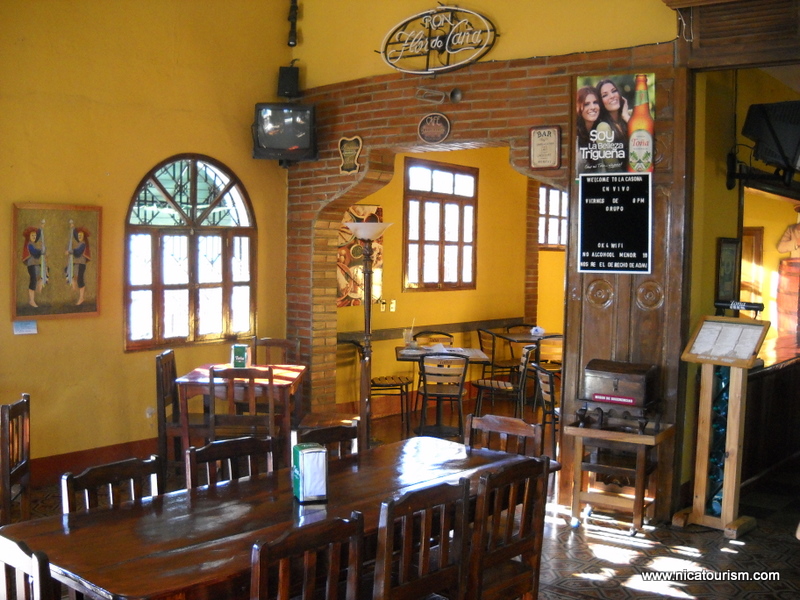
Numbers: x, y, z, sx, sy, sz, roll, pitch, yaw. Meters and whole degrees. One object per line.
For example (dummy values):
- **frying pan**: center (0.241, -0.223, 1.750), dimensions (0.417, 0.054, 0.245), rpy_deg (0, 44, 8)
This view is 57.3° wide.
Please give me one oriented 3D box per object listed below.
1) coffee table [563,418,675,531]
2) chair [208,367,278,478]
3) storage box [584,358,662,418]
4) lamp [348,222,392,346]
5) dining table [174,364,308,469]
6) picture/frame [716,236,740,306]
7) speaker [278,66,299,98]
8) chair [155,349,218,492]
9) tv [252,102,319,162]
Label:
- **coffee table**: center (1.785, 1.315, 6.119), dimensions (0.951, 1.073, 0.811), rpy_deg (0, -1, 34)
- **chair**: center (-1.415, 1.145, 6.328), dimensions (0.667, 0.997, 0.683), rpy_deg (-3, -25, -11)
- **storage box**: center (1.773, 0.730, 5.890), dimensions (0.544, 0.399, 0.311), rpy_deg (3, -4, 35)
- **lamp**: center (-0.336, -0.022, 7.473), dimensions (0.483, 1.475, 0.461), rpy_deg (0, -6, -16)
- **dining table**: center (-1.564, 1.043, 6.649), dimensions (1.040, 0.577, 1.003), rpy_deg (2, -7, -10)
- **picture/frame**: center (2.959, -0.270, 6.609), dimensions (0.107, 0.822, 0.614), rpy_deg (0, 2, 40)
- **speaker**: center (-1.204, -2.381, 7.950), dimensions (0.232, 0.370, 0.327), rpy_deg (1, 11, -7)
- **chair**: center (-1.912, 0.835, 6.649), dimensions (0.490, 0.690, 0.490), rpy_deg (-1, -16, -30)
- **tv**: center (-1.148, -1.652, 7.882), dimensions (0.900, 0.842, 0.525), rpy_deg (-1, 4, -11)
